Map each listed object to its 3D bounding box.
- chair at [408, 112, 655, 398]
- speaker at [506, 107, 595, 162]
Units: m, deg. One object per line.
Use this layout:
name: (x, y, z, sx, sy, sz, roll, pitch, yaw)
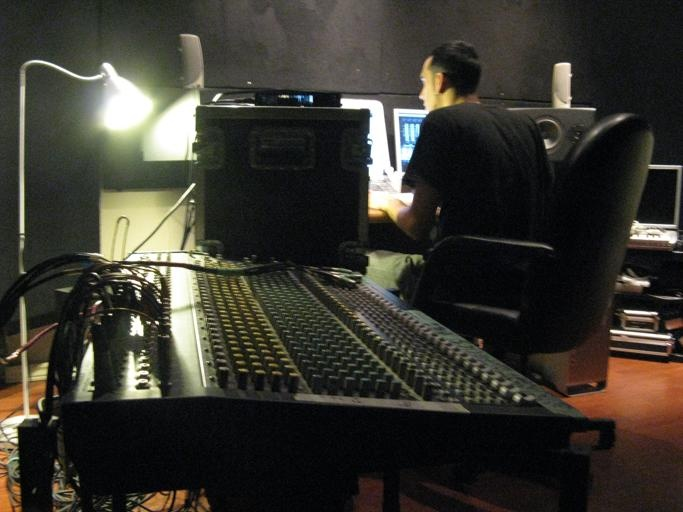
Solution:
chair: (0.856, 0.091, 2.609, 0.678, 1.354, 1.322, 8, 14, 24)
speaker: (0.909, -0.531, 2.635, 0.467, 0.284, 0.250, 1, 14, 8)
